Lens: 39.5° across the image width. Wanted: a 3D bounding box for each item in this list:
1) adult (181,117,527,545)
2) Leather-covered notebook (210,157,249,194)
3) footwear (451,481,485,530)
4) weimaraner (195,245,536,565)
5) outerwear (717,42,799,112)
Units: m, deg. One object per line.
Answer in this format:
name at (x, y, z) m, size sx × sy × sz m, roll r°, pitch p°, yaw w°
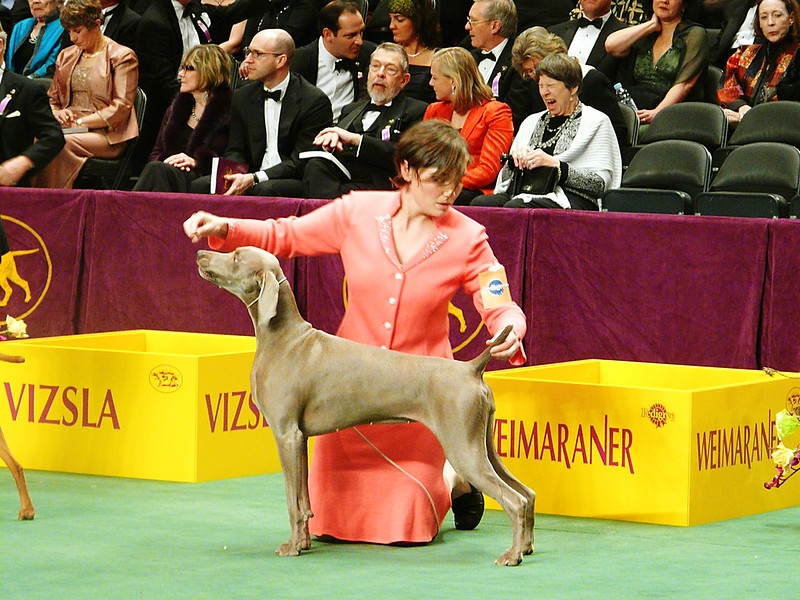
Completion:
adult at (-0.219, 0.183, 5.255) m, size 1.663 × 1.965 × 1.111 m, roll 5°, pitch 6°, yaw 14°
Leather-covered notebook at (-1.321, -0.977, 8.561) m, size 0.069 × 0.303 × 0.297 m, roll 7°, pitch 4°, yaw 30°
footwear at (0.333, 1.009, 5.394) m, size 0.102 × 0.290 × 0.120 m, roll -8°, pitch -23°, yaw 43°
weimaraner at (-0.166, 0.484, 4.890) m, size 1.512 × 1.282 × 0.448 m, roll 3°, pitch 1°, yaw 8°
outerwear at (2.869, -1.755, 8.828) m, size 0.531 × 0.570 × 0.325 m, roll 23°, pitch 7°, yaw 41°
